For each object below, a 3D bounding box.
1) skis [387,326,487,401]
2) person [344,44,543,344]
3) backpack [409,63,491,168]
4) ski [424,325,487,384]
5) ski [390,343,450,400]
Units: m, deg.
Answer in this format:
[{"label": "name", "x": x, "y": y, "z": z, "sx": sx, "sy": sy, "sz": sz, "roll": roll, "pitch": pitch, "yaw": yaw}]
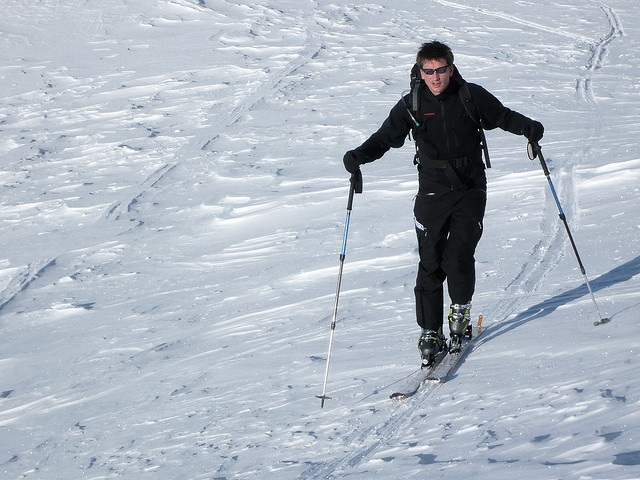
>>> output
[{"label": "skis", "x": 1.010, "y": 0.923, "z": 6.355, "sx": 0.310, "sy": 0.065, "sz": 1.339, "roll": 7, "pitch": 23, "yaw": 39}, {"label": "person", "x": 1.002, "y": -0.340, "z": 6.290, "sx": 1.385, "sy": 2.376, "sz": 0.383, "roll": -4, "pitch": 10, "yaw": 9}, {"label": "backpack", "x": 1.017, "y": -0.996, "z": 6.254, "sx": 0.581, "sy": 0.842, "sz": 0.241, "roll": -4, "pitch": 10, "yaw": 7}, {"label": "ski", "x": 1.229, "y": 0.892, "z": 6.547, "sx": 0.202, "sy": 0.049, "sz": 1.245, "roll": 6, "pitch": 24, "yaw": 36}, {"label": "ski", "x": 0.872, "y": 1.030, "z": 6.341, "sx": 0.153, "sy": 0.087, "sz": 0.955, "roll": -1, "pitch": 20, "yaw": 44}]
